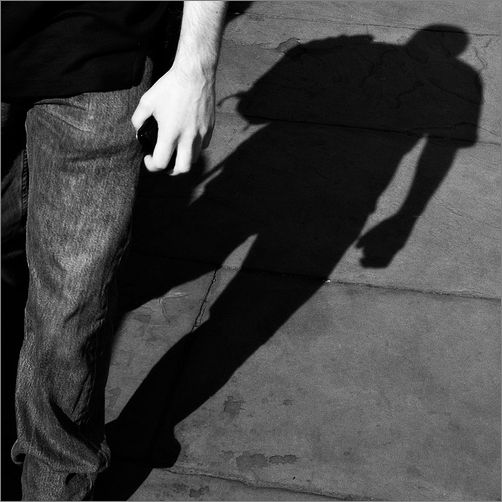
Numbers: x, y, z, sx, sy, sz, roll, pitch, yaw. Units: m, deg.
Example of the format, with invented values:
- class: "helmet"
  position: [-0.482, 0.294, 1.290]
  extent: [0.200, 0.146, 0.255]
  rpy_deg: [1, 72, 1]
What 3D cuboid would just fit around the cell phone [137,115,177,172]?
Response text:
- class: "cell phone"
  position: [-0.221, -0.244, 1.383]
  extent: [0.026, 0.099, 0.099]
  rpy_deg: [14, 53, 17]
